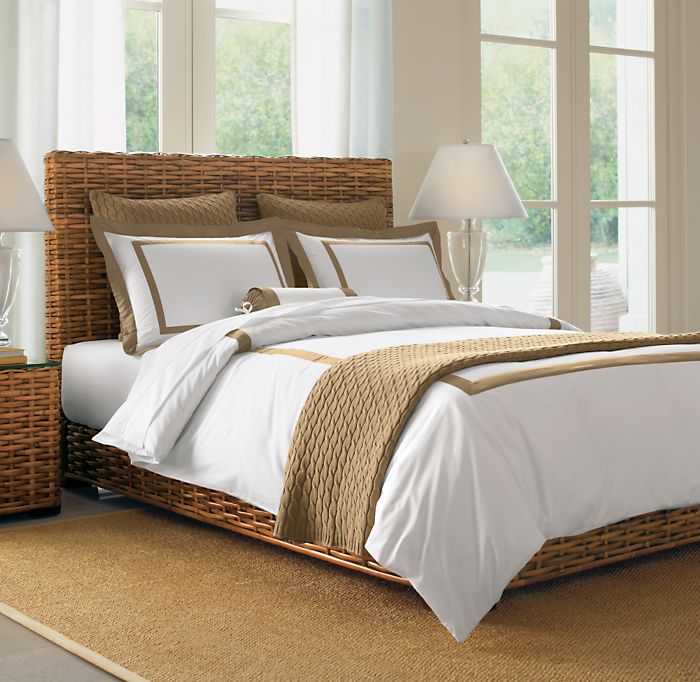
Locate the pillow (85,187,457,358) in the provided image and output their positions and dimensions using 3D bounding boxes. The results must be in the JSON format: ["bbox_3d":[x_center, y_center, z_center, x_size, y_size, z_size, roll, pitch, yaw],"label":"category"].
[{"bbox_3d":[-0.354,-0.296,3.006,1.360,0.725,0.577,0,-2,-29],"label":"pillow"}]

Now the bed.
[{"bbox_3d":[-0.069,-0.157,2.586,2.153,1.151,1.632,9,11,41],"label":"bed"}]
